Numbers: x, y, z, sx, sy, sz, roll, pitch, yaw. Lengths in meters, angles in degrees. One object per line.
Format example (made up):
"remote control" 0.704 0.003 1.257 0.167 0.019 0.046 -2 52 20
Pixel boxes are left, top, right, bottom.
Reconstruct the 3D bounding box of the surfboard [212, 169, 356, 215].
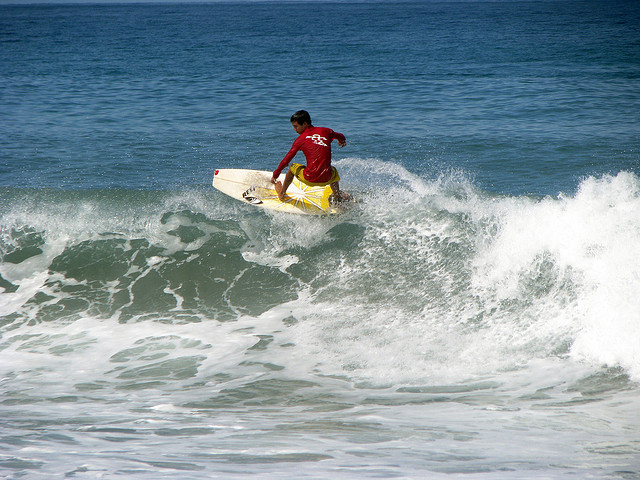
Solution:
"surfboard" -0.850 -1.094 17.402 3.021 0.835 0.924 24 34 30

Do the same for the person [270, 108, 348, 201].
"person" -0.160 -1.596 16.372 1.454 2.137 0.721 10 38 -6
